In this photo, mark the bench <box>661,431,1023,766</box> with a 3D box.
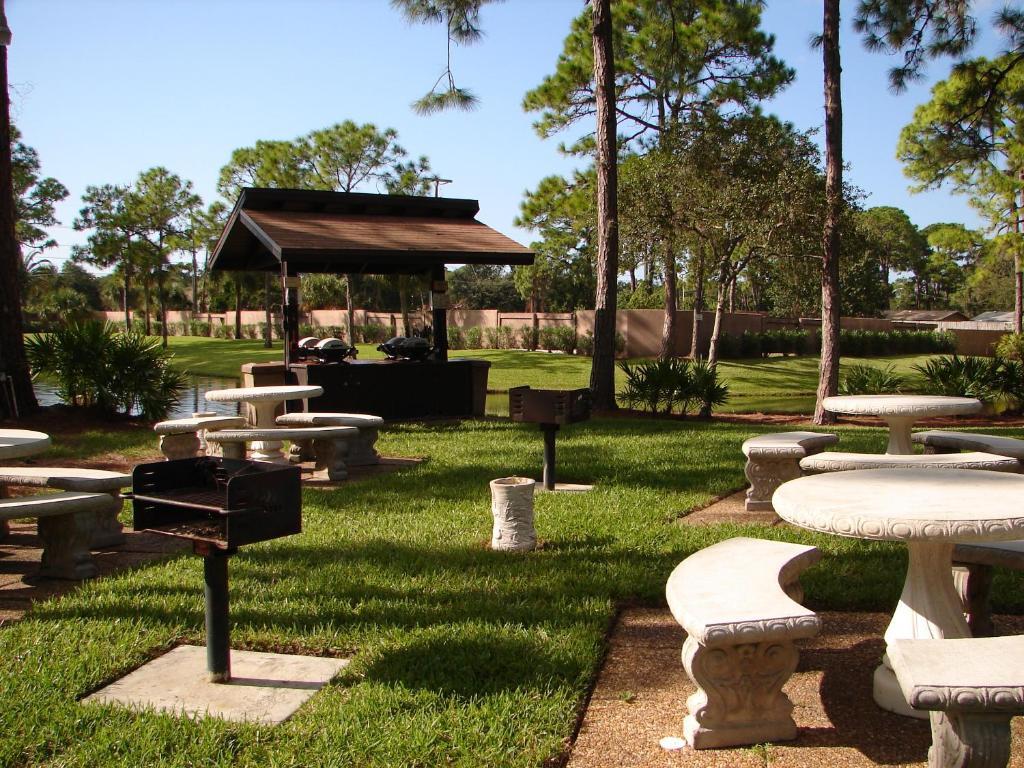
[{"bbox_3d":[1.826,1.265,5.675,1.865,1.354,1.409,0,8,1],"label":"bench"}]
